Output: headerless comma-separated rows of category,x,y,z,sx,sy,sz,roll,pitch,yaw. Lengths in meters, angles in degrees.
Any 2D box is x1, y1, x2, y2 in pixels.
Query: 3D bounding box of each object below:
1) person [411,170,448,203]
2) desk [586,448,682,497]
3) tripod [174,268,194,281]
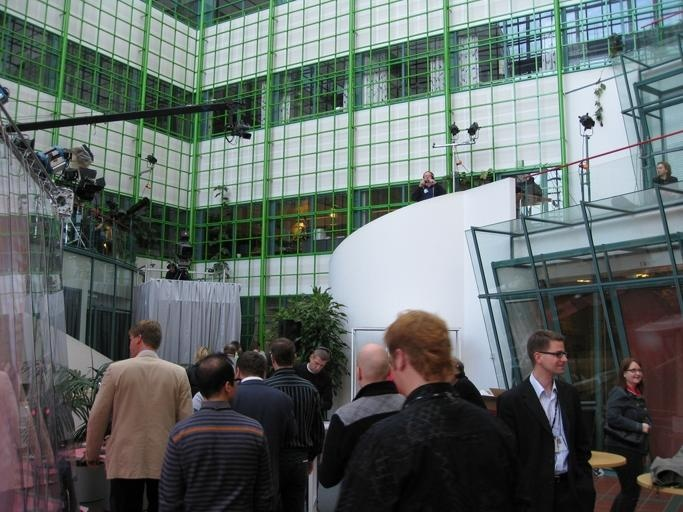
person,1.820,-1.478,14.823,0.526,0.755,0.924,1,-10,-23
desk,3.096,2.320,7.428,0.761,0.397,1.251,4,-12,-37
tripod,-4.356,0.510,19.277,0.371,0.374,0.558,1,-10,-20
